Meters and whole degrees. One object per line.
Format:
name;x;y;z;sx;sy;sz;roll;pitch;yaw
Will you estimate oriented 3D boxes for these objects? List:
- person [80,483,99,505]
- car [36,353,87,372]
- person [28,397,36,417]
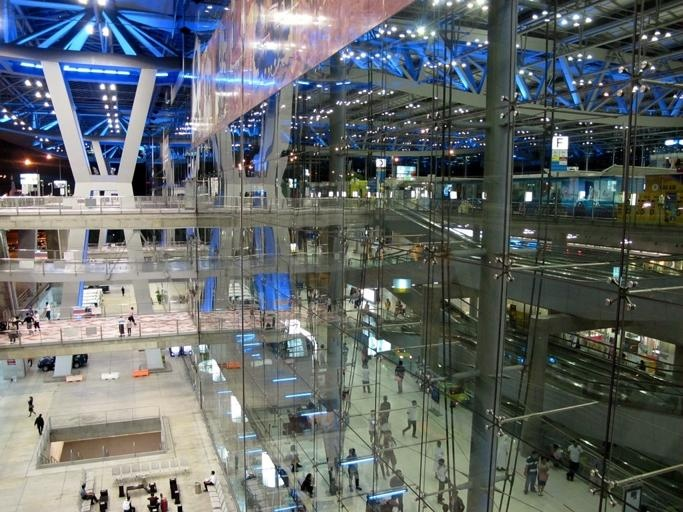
person;-8.842;8.189;18.531;0.504;0.509;0.946;-3;7;-34
car;-17.509;6.543;33.383;2.721;0.985;2.064;-2;7;-26
person;-15.273;7.171;26.109;0.288;0.836;1.413;-2;7;-30
